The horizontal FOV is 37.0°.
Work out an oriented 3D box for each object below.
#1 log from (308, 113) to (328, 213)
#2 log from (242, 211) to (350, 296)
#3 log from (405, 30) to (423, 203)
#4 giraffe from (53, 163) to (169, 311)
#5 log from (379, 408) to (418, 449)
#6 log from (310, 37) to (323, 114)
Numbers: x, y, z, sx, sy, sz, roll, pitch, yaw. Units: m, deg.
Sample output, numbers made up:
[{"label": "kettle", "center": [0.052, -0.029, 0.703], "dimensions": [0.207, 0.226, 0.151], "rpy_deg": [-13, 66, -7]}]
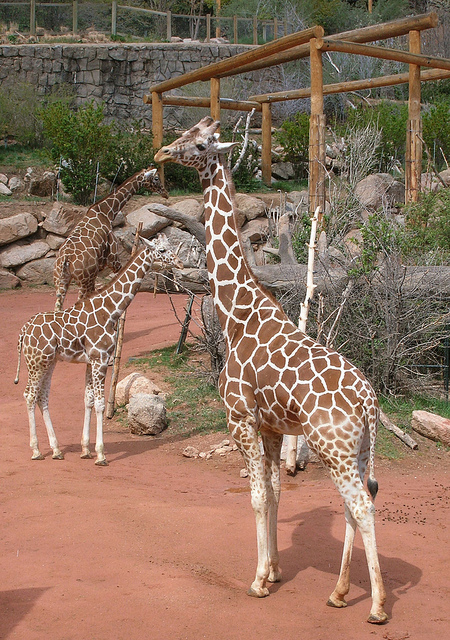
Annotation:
[{"label": "log", "center": [1.541, -2.531, 11.340], "dimensions": [0.307, 1.763, 0.277], "rpy_deg": [-25, 33, -38]}, {"label": "log", "center": [1.207, -0.748, 9.201], "dimensions": [1.709, 0.553, 1.361], "rpy_deg": [12, 25, 18]}, {"label": "log", "center": [3.890, -3.971, 13.718], "dimensions": [0.341, 3.221, 0.321], "rpy_deg": [1, -9, 3]}, {"label": "giraffe", "center": [-1.819, -1.255, 10.685], "dimensions": [0.724, 1.725, 2.705], "rpy_deg": [11, 30, 28]}, {"label": "log", "center": [1.953, 1.259, 7.761], "dimensions": [0.171, 0.109, 0.793], "rpy_deg": [6, 19, -25]}, {"label": "log", "center": [1.535, -4.084, 11.253], "dimensions": [0.169, 1.125, 0.156], "rpy_deg": [-14, 17, -21]}]
